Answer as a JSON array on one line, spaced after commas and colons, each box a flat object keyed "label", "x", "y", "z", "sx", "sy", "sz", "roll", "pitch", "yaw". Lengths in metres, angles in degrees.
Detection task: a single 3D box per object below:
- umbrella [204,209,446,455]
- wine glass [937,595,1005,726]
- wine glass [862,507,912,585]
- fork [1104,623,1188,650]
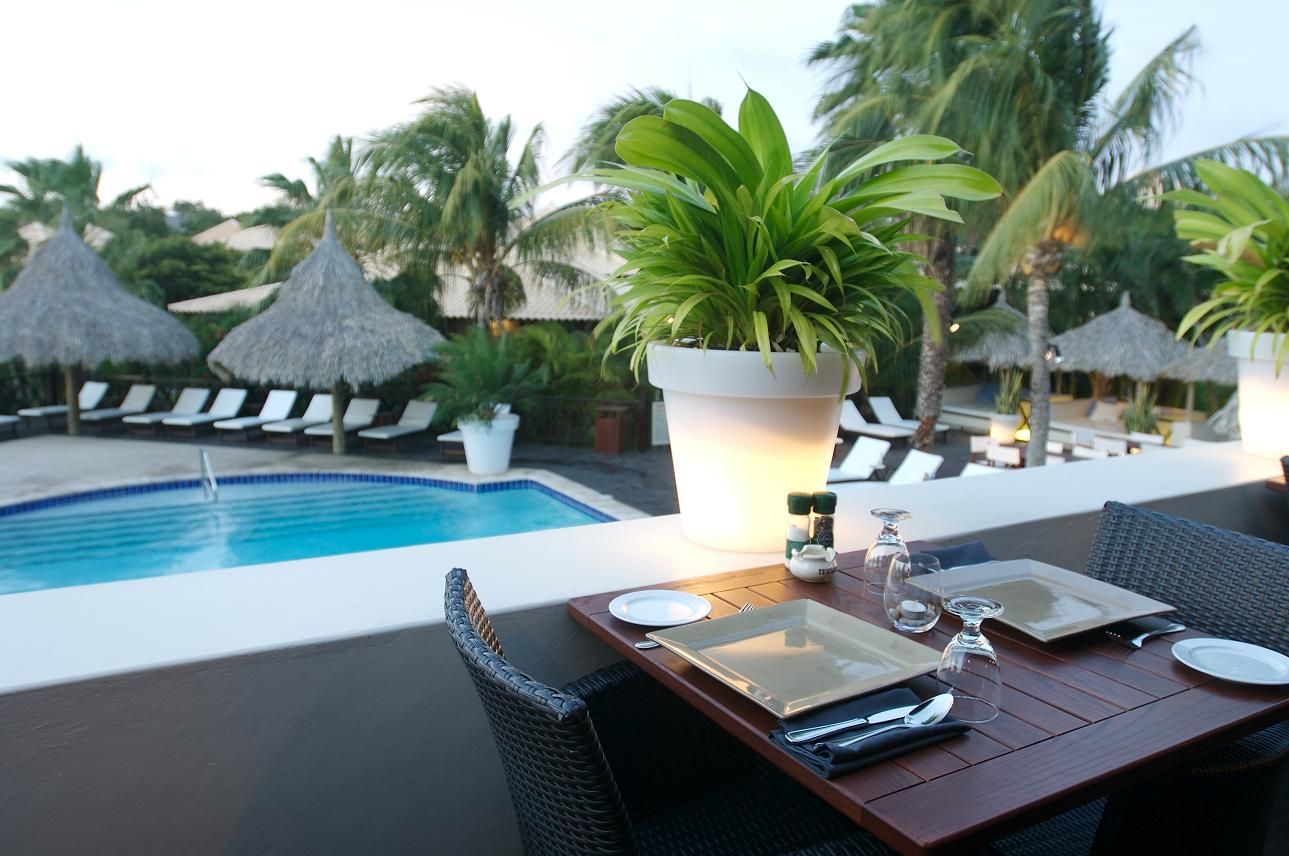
[{"label": "umbrella", "x": -5.673, "y": -1.770, "z": 16.104, "sx": 3.897, "sy": 4.297, "sz": 3.763, "roll": -1, "pitch": 9, "yaw": -21}, {"label": "wine glass", "x": 0.736, "y": 0.546, "z": 1.953, "sx": 0.161, "sy": 0.278, "sz": 0.167, "roll": 8, "pitch": -11, "yaw": 0}, {"label": "wine glass", "x": 0.644, "y": 0.321, "z": 2.278, "sx": 0.102, "sy": 0.180, "sz": 0.112, "roll": -2, "pitch": 21, "yaw": -7}, {"label": "fork", "x": 1.242, "y": 0.492, "z": 2.130, "sx": 0.258, "sy": 0.040, "sz": 0.072, "roll": -5, "pitch": 27, "yaw": -29}]
